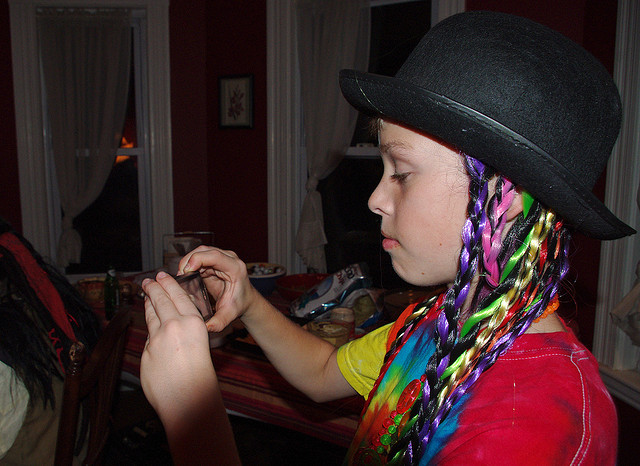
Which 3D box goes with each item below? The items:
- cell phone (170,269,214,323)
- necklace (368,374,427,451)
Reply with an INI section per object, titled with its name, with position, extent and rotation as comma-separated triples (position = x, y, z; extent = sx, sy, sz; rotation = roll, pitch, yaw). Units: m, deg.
[cell phone]
position = -0.296, 0.160, 1.202
extent = 0.084, 0.015, 0.126
rotation = 5, 47, -39
[necklace]
position = 0.168, 0.391, 1.101
extent = 0.040, 0.200, 0.053
rotation = 35, -9, -15
